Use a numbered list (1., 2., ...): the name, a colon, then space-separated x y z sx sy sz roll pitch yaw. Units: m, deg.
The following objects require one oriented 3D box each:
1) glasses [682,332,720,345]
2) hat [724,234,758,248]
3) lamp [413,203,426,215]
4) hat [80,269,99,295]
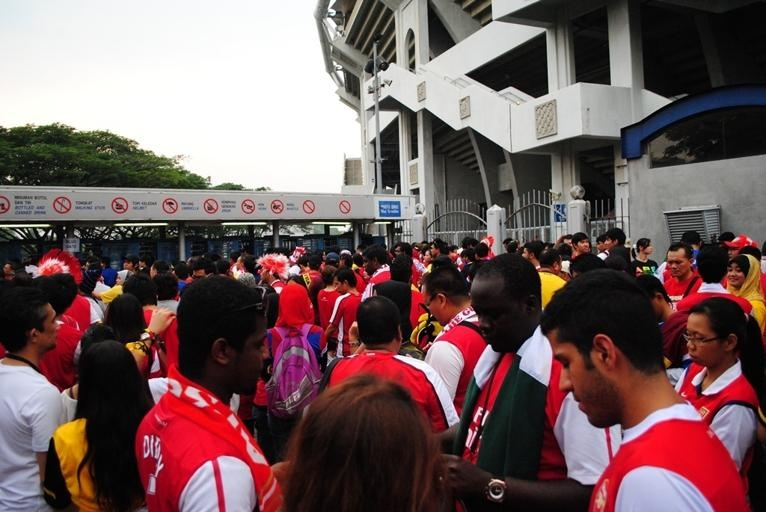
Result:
1. glasses: 2.352 0.611 4.157 0.160 0.048 0.164 3 -3 -11
2. hat: 6.419 -0.262 10.239 0.516 0.239 0.331 0 1 -16
3. lamp: 1.460 -1.843 22.435 0.415 0.442 0.383 -5 4 -25
4. hat: -3.656 0.320 7.181 0.198 0.263 0.271 9 17 -25
